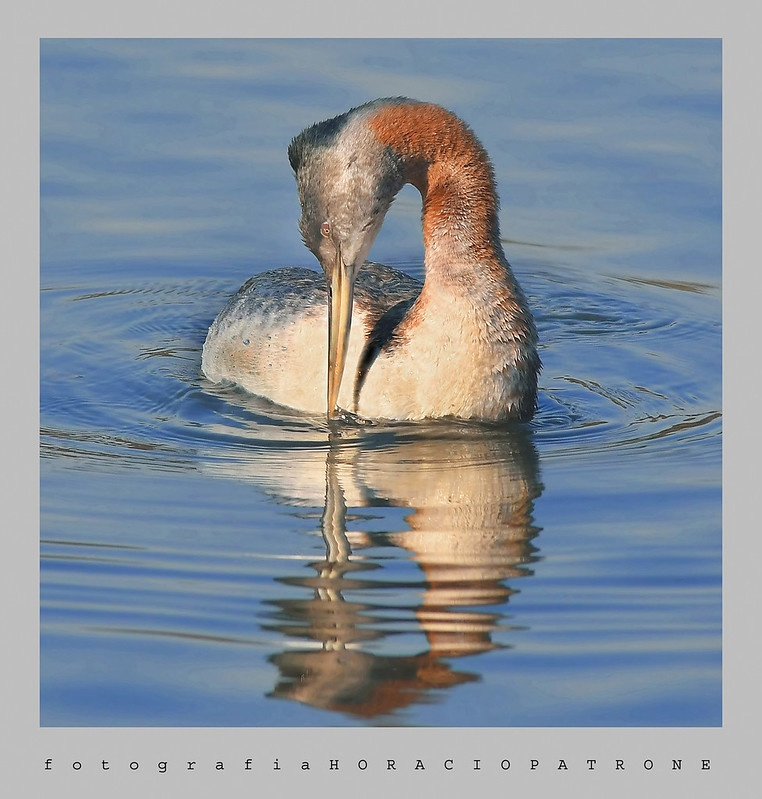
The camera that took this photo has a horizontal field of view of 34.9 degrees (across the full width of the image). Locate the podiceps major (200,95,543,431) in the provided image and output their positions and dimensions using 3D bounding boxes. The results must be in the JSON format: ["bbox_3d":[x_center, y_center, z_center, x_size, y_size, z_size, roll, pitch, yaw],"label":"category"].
[{"bbox_3d":[-0.083,-0.507,4.826,0.918,1.178,1.196,-2,2,-33],"label":"podiceps major"}]
